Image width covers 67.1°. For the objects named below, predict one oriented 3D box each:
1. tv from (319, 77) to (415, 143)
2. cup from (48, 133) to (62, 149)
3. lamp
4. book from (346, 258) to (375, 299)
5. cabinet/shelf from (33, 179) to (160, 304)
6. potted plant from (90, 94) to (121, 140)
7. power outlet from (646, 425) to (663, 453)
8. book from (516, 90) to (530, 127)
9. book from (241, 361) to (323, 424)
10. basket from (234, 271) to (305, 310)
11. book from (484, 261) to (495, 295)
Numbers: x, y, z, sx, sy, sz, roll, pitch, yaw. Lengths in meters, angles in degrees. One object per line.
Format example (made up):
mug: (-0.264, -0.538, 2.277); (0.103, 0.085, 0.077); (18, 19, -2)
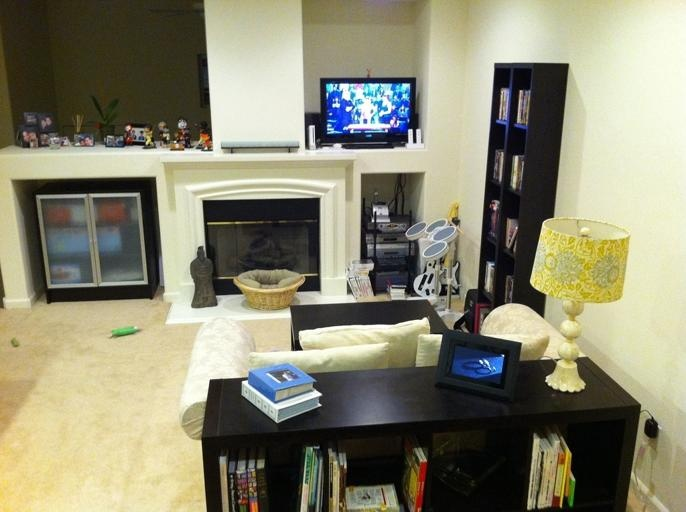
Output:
tv: (0.268, -1.742, 6.067); (0.725, 0.544, 0.211); (-1, 27, -1)
cup: (-3.284, -1.324, 5.915); (0.153, 0.173, 0.315); (-7, 14, -27)
lamp: (1.204, 0.267, 2.685); (0.415, 0.890, 0.393); (6, 14, 29)
book: (0.105, 0.252, 6.015); (0.451, 0.479, 0.259); (-2, 25, -7)
cabinet/shelf: (-2.854, -0.154, 5.948); (1.199, 1.438, 0.714); (-2, 15, -8)
potted plant: (-2.970, -1.684, 6.550); (0.321, 0.569, 0.442); (3, 2, 17)
power outlet: (1.922, 1.140, 3.215); (0.033, 0.176, 0.128); (-4, 12, -15)
book: (1.455, -1.207, 4.183); (0.060, 0.290, 0.190); (-2, 12, -6)
book: (-0.269, 0.638, 2.575); (0.268, 0.129, 0.264); (-12, 27, -40)
basket: (-0.800, 0.298, 5.726); (0.534, 0.240, 0.528); (-8, 15, -42)
book: (1.383, 0.201, 4.904); (0.128, 0.240, 0.243); (5, 22, 10)
